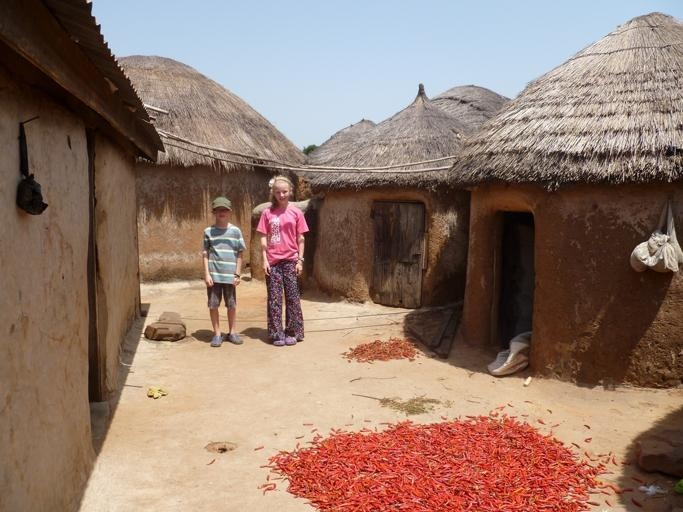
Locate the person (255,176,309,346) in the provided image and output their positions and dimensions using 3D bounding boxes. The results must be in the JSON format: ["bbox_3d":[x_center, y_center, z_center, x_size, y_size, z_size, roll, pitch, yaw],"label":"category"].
[{"bbox_3d":[-0.763,0.185,7.234,0.629,1.995,0.389,-2,11,-15],"label":"person"}]

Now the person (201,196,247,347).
[{"bbox_3d":[-1.514,0.206,7.119,0.501,1.919,0.693,-1,11,-12],"label":"person"}]
